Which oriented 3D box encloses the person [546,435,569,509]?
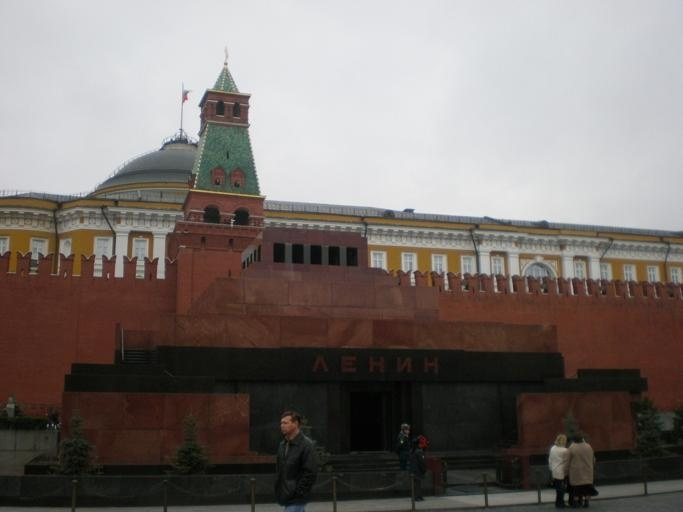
[{"bbox_3d":[5.559,5.415,24.326,0.484,1.808,0.785,-5,-16,11],"label":"person"}]

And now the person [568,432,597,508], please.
[{"bbox_3d":[6.077,5.419,24.353,0.673,1.825,1.050,-5,-17,12],"label":"person"}]
